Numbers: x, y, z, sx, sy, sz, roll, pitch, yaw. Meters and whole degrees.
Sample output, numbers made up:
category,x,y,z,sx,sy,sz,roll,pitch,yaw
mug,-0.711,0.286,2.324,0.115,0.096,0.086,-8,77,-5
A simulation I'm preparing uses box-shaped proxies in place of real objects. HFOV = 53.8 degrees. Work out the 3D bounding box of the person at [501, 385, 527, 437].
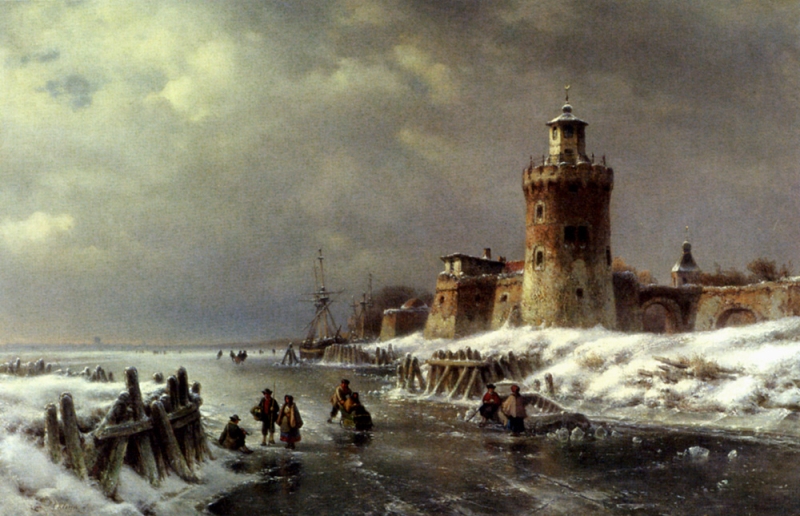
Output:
category,x,y,z,sx,sy,sz,roll,pitch,yaw
person,4.486,5.836,30.596,0.809,1.837,1.469,-1,-7,-1
